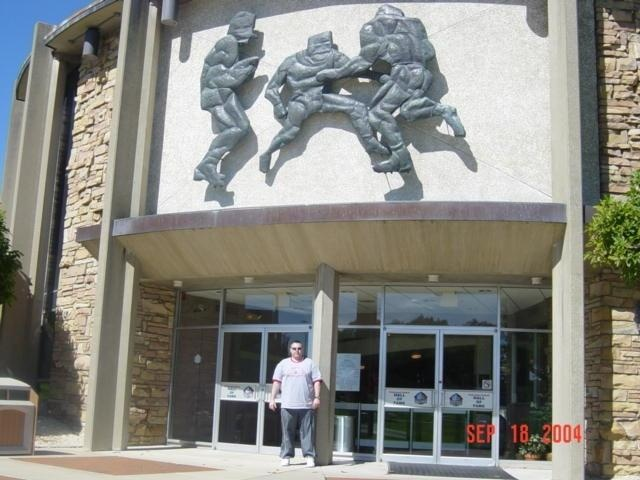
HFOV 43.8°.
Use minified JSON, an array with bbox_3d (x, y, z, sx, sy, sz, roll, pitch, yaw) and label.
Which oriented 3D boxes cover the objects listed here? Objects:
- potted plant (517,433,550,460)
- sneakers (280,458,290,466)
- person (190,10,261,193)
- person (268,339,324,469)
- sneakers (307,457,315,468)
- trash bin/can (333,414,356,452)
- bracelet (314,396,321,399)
[{"bbox_3d":[4.306,4.168,16.152,0.528,0.485,0.529,-3,-10,-2],"label":"potted plant"},{"bbox_3d":[-0.644,4.110,14.702,0.141,0.142,0.168,0,-27,3],"label":"sneakers"},{"bbox_3d":[-1.930,-3.014,16.797,1.332,3.740,0.659,-13,-21,35],"label":"person"},{"bbox_3d":[-0.444,3.059,14.758,0.920,2.232,0.684,1,-17,-2],"label":"person"},{"bbox_3d":[-0.165,4.097,14.639,0.167,0.172,0.185,-17,-18,35],"label":"sneakers"},{"bbox_3d":[0.516,4.038,16.493,0.403,0.779,0.178,0,-17,0],"label":"trash bin/can"},{"bbox_3d":[-0.054,2.916,14.747,0.089,0.082,0.195,2,-17,-6],"label":"bracelet"}]
